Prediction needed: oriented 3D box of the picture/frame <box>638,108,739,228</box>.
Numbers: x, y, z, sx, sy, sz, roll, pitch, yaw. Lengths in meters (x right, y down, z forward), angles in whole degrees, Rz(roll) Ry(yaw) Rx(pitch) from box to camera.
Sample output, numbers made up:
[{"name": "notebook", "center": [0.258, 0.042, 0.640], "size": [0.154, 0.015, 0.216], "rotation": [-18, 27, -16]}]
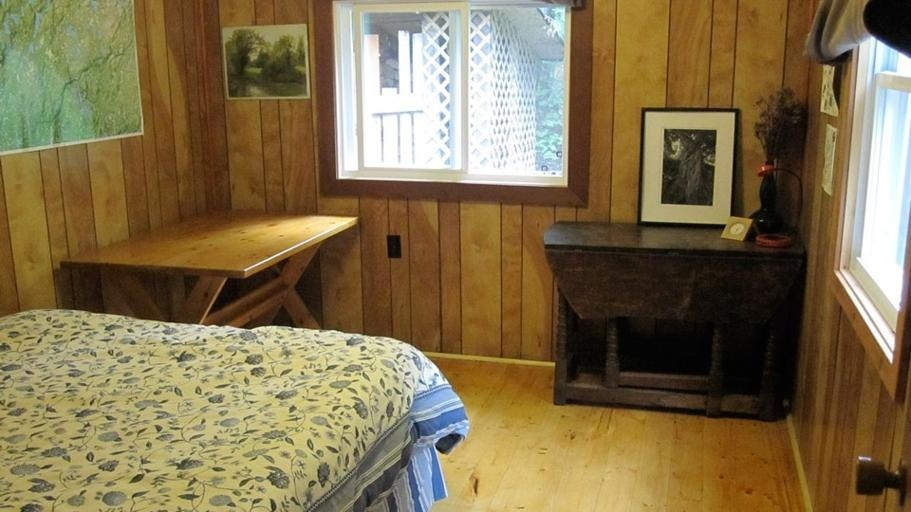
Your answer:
[{"name": "picture/frame", "center": [1.620, -0.629, 4.919], "size": [0.941, 1.006, 0.072], "rotation": [3, 4, 10]}]

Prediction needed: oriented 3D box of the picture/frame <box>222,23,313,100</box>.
[{"name": "picture/frame", "center": [-1.398, -1.493, 5.432], "size": [0.688, 0.433, 0.026], "rotation": [2, 13, 14]}]

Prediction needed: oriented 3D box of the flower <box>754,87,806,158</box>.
[{"name": "flower", "center": [2.132, -0.867, 4.710], "size": [0.318, 0.480, 0.270], "rotation": [4, 14, 15]}]

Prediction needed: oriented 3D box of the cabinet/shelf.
[{"name": "cabinet/shelf", "center": [1.480, 0.437, 4.703], "size": [1.484, 0.938, 0.493], "rotation": [2, 9, 16]}]
